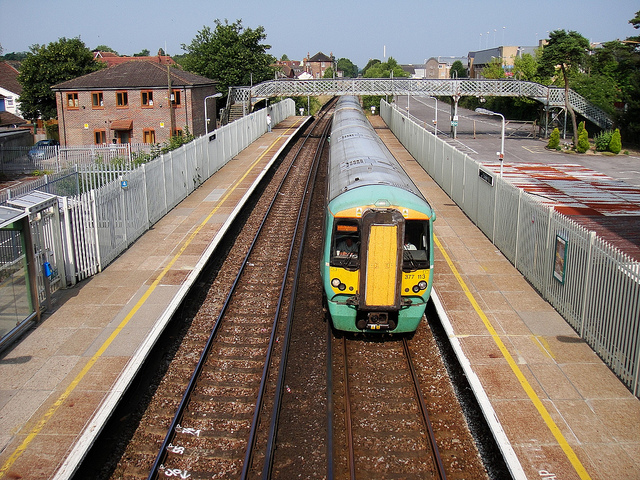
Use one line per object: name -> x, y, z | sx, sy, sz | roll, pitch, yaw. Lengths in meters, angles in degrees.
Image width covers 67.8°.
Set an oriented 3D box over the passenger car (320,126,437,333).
passenger car -> 1.358, 0.010, 13.895 | 2.633, 4.224, 6.135 | -1, 18, 0
